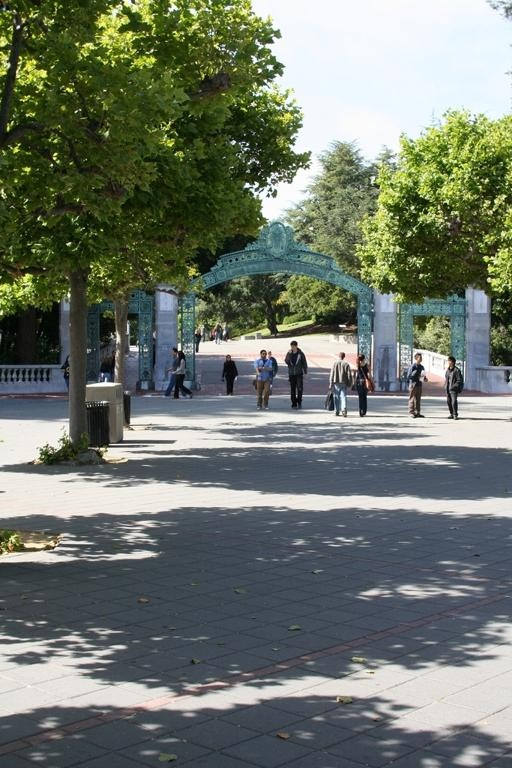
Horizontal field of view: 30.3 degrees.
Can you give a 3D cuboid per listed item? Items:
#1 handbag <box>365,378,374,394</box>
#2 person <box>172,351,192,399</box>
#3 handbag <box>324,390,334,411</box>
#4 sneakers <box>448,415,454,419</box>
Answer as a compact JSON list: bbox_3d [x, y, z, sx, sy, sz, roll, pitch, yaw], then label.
[{"bbox_3d":[3.018,0.044,25.306,0.187,0.452,0.497,-8,7,15],"label":"handbag"},{"bbox_3d":[-2.487,-0.237,31.058,0.789,0.444,1.650,8,-24,1],"label":"person"},{"bbox_3d":[1.972,0.459,25.731,0.224,0.553,0.595,3,0,9],"label":"handbag"},{"bbox_3d":[4.976,0.838,24.145,0.085,0.091,0.246,-1,-5,11],"label":"sneakers"}]
